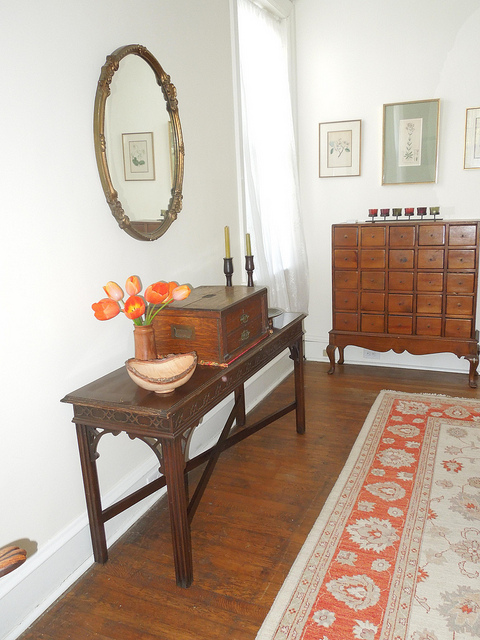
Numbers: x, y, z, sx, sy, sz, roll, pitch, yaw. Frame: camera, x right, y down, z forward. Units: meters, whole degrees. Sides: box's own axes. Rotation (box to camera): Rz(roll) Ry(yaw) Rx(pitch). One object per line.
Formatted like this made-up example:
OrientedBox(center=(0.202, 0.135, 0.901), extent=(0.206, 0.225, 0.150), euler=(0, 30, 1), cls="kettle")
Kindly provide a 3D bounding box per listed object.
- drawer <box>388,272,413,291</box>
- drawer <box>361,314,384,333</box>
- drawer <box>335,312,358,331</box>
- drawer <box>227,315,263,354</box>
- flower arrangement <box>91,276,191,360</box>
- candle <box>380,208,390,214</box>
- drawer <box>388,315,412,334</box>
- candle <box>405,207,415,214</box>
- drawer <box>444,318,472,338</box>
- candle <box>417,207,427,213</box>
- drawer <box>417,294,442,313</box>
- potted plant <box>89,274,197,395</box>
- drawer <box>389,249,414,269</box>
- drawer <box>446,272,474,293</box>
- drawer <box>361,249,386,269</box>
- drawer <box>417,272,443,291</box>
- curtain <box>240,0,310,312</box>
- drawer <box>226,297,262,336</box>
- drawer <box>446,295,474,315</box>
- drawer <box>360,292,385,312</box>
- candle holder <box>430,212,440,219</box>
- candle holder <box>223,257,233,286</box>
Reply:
OrientedBox(center=(1.339, -0.324, 4.238), extent=(0.242, 0.172, 0.138), euler=(3, 11, 24), cls="drawer")
OrientedBox(center=(1.156, 0.011, 4.493), extent=(0.213, 0.198, 0.148), euler=(3, 11, 28), cls="drawer")
OrientedBox(center=(0.950, 0.010, 4.542), extent=(0.228, 0.162, 0.141), euler=(5, 19, 26), cls="drawer")
OrientedBox(center=(0.024, 0.068, 2.497), extent=(0.147, 0.055, 0.223), euler=(-10, 14, 33), cls="drawer")
OrientedBox(center=(-0.379, 0.023, 2.036), extent=(0.340, 0.361, 0.333), euler=(-4, 7, -1), cls="flower arrangement")
OrientedBox(center=(1.255, -0.936, 4.381), extent=(0.068, 0.052, 0.074), euler=(-1, 5, 2), cls="candle")
OrientedBox(center=(1.358, 0.002, 4.328), extent=(0.215, 0.152, 0.144), euler=(3, 9, 30), cls="drawer")
OrientedBox(center=(1.414, -0.917, 4.251), extent=(0.053, 0.039, 0.049), euler=(4, 12, 29), cls="candle")
OrientedBox(center=(1.768, 0.056, 4.144), extent=(0.209, 0.195, 0.146), euler=(4, 11, 33), cls="drawer")
OrientedBox(center=(1.507, -0.905, 4.194), extent=(0.062, 0.047, 0.068), euler=(0, 7, 13), cls="candle")
OrientedBox(center=(1.558, -0.145, 4.205), extent=(0.207, 0.192, 0.142), euler=(3, 11, 29), cls="drawer")
OrientedBox(center=(-0.386, 0.065, 2.007), extent=(0.376, 0.483, 0.386), euler=(-7, 3, -19), cls="potted plant")
OrientedBox(center=(1.334, -0.486, 4.247), extent=(0.265, 0.218, 0.137), euler=(2, 9, 22), cls="drawer")
OrientedBox(center=(1.742, -0.296, 4.020), extent=(0.251, 0.179, 0.146), euler=(4, 14, 30), cls="drawer")
OrientedBox(center=(1.130, -0.524, 4.280), extent=(0.150, 0.128, 0.048), euler=(6, 22, 31), cls="drawer")
OrientedBox(center=(1.537, -0.323, 4.154), extent=(0.235, 0.194, 0.136), euler=(4, 16, 30), cls="drawer")
OrientedBox(center=(0.307, -1.263, 4.211), extent=(0.251, 2.565, 1.102), euler=(1, 12, 19), cls="curtain")
OrientedBox(center=(0.017, -0.018, 2.476), extent=(0.155, 0.055, 0.234), euler=(-10, 14, 30), cls="drawer")
OrientedBox(center=(1.758, -0.132, 4.104), extent=(0.214, 0.207, 0.145), euler=(4, 13, 31), cls="drawer")
OrientedBox(center=(1.147, -0.186, 4.462), extent=(0.227, 0.211, 0.153), euler=(2, 8, 25), cls="drawer")
OrientedBox(center=(1.613, -0.867, 4.185), extent=(0.052, 0.049, 0.047), euler=(-1, 24, 9), cls="candle holder")
OrientedBox(center=(-0.063, -0.275, 2.877), extent=(0.048, 0.154, 0.081), euler=(-4, 12, -1), cls="candle holder")
